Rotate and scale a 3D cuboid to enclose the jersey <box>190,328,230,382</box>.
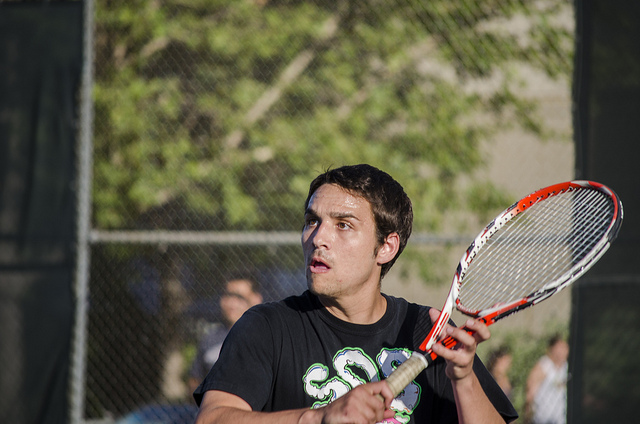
[{"bbox_3d":[-1.148,1.438,10.056,0.117,0.606,0.558,16,-8,2],"label":"jersey"}]
